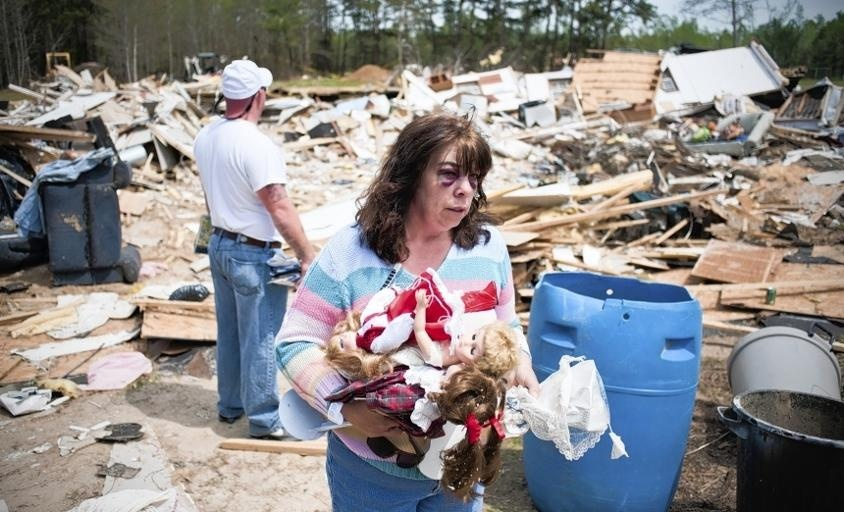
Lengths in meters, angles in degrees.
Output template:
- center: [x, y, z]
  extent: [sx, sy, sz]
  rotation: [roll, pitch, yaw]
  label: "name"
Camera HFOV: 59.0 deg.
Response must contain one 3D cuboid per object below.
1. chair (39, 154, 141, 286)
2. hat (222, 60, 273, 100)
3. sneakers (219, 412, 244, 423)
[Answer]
- center: [-5.390, -0.534, 12.819]
  extent: [2.134, 2.030, 2.144]
  rotation: [-3, -2, -31]
  label: "chair"
- center: [-2.288, -2.363, 9.928]
  extent: [0.514, 0.384, 0.639]
  rotation: [28, 45, 27]
  label: "hat"
- center: [-2.685, 2.257, 10.498]
  extent: [0.312, 0.123, 0.130]
  rotation: [-5, -17, 1]
  label: "sneakers"
